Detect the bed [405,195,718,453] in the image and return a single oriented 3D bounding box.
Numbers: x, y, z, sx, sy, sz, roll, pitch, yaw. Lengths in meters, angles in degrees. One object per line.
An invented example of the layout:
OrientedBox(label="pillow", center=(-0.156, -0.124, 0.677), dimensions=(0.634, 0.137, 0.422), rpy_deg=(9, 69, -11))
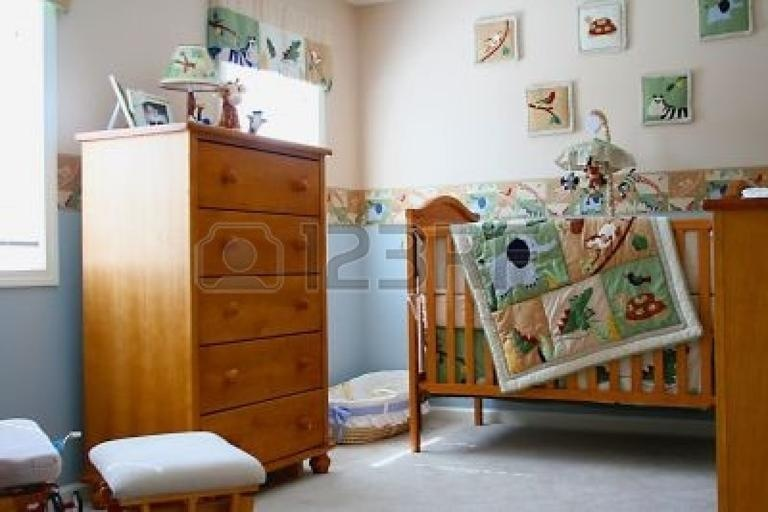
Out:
OrientedBox(label="bed", center=(1.320, 0.378, 3.661), dimensions=(2.220, 1.496, 0.883), rpy_deg=(-8, 21, -26))

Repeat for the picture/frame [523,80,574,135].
OrientedBox(label="picture/frame", center=(1.072, -0.961, 4.000), dimensions=(0.377, 0.379, 0.054), rpy_deg=(0, 2, 28))

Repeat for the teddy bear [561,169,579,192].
OrientedBox(label="teddy bear", center=(1.174, -0.473, 3.922), dimensions=(0.111, 0.112, 0.041), rpy_deg=(-3, -4, 38))

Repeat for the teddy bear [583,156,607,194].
OrientedBox(label="teddy bear", center=(1.263, -0.472, 3.725), dimensions=(0.105, 0.162, 0.105), rpy_deg=(20, -18, -42))

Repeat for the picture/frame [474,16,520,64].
OrientedBox(label="picture/frame", center=(0.761, -1.444, 4.122), dimensions=(0.353, 0.338, 0.049), rpy_deg=(0, -1, 21))

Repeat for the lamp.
OrientedBox(label="lamp", center=(-0.937, -0.850, 3.077), dimensions=(0.233, 0.390, 0.240), rpy_deg=(23, 32, 21))
